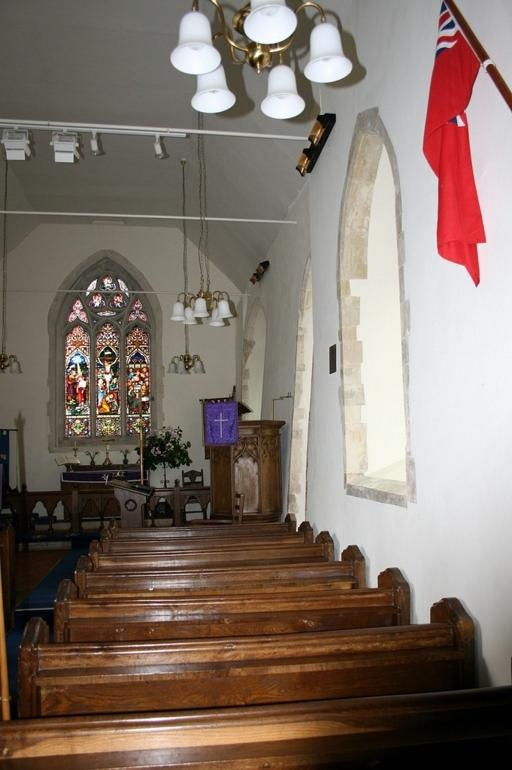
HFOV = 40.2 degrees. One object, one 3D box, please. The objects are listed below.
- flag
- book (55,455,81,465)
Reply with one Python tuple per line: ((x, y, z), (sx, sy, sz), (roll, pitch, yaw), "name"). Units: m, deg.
((0.779, -0.979, 2.770), (0.218, 1.132, 0.318), (-1, -4, 14), "flag")
((-3.371, 1.347, 12.514), (0.377, 0.172, 0.221), (-5, -8, 22), "book")
